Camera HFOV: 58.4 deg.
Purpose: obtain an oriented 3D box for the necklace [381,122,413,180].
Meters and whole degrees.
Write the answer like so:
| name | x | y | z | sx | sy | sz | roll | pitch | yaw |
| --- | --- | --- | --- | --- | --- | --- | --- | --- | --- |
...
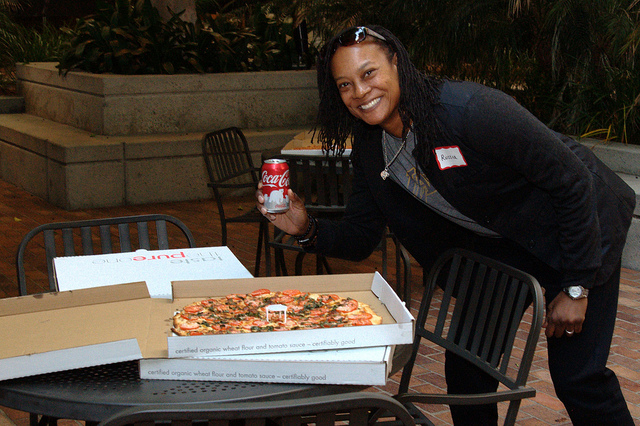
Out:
| name | x | y | z | sx | sy | sz | roll | pitch | yaw |
| --- | --- | --- | --- | --- | --- | --- | --- | --- | --- |
| necklace | 0.317 | -0.263 | 2.614 | 0.063 | 0.212 | 0.126 | -12 | 21 | -29 |

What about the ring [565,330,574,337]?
| name | x | y | z | sx | sy | sz | roll | pitch | yaw |
| --- | --- | --- | --- | --- | --- | --- | --- | --- | --- |
| ring | 1.104 | 0.526 | 2.535 | 0.025 | 0.017 | 0.025 | -4 | 7 | 0 |
